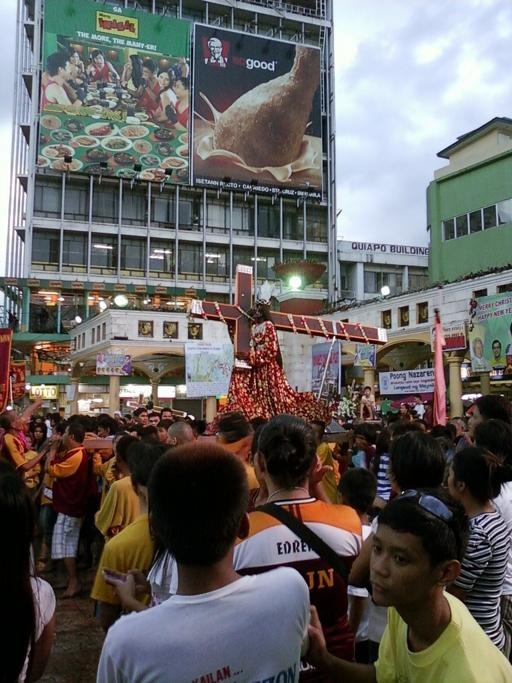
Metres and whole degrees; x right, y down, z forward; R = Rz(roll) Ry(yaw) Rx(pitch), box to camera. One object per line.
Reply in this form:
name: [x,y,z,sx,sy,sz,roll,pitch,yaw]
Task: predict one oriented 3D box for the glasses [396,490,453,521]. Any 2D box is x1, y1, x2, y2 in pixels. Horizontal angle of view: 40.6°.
glasses: [0.577,0.548,2.340,0.120,0.041,0.089,25,8,41]
